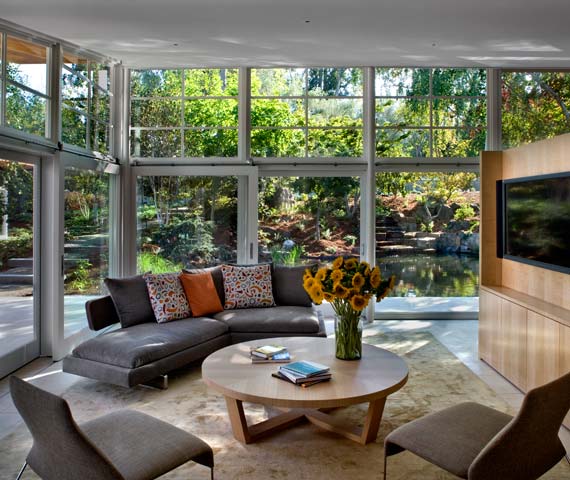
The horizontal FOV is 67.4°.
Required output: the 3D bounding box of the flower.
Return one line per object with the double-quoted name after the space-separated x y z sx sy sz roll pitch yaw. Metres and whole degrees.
0.500 0.324 3.160 0.581 0.317 0.545 -2 -5 21 "flower"
